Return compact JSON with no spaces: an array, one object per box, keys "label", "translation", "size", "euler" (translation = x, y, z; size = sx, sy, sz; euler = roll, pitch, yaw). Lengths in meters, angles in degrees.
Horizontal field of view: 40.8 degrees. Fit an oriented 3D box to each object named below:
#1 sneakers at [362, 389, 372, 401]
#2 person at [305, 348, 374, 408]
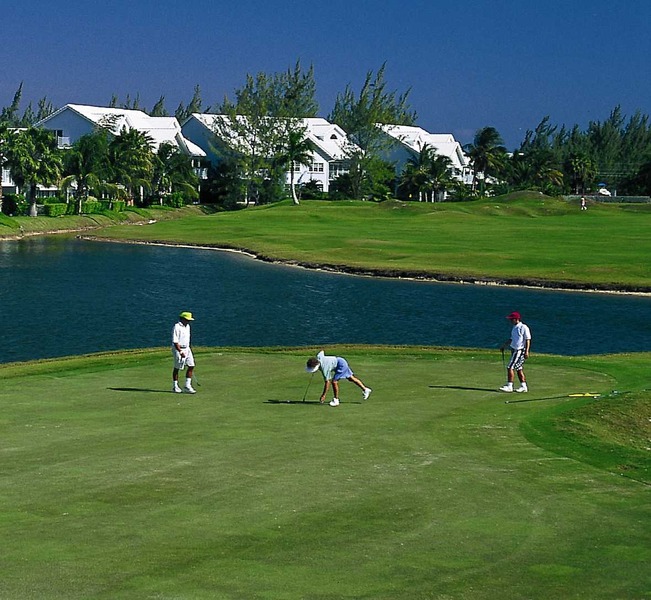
[{"label":"sneakers","translation":[0.992,2.280,20.898],"size":[0.175,0.321,0.113],"euler":[3,33,-9]},{"label":"person","translation":[0.261,1.822,20.205],"size":[1.779,0.952,0.781],"euler":[4,-1,-23]}]
